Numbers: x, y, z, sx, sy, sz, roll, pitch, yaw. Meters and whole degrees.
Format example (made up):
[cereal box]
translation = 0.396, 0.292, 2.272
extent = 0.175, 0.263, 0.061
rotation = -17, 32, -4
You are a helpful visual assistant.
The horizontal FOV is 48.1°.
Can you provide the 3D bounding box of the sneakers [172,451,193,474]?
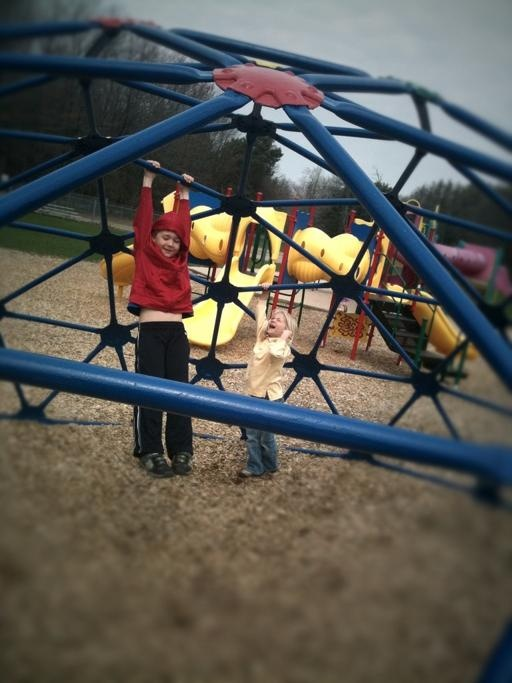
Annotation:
[sneakers]
translation = -0.204, 0.344, 1.586
extent = 0.050, 0.053, 0.134
rotation = 3, -12, -1
